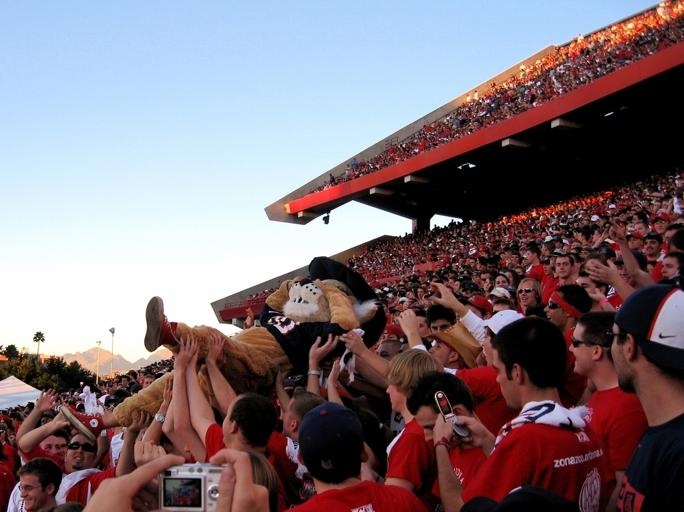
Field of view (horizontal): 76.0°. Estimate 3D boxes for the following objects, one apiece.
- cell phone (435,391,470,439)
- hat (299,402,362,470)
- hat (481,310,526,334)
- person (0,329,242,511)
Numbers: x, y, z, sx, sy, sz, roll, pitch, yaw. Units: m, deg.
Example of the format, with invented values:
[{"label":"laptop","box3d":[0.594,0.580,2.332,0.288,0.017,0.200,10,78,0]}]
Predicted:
[{"label":"cell phone","box3d":[0.540,0.782,2.176,0.129,0.252,0.060,-25,-3,-40]},{"label":"hat","box3d":[-0.061,0.750,1.899,0.264,0.212,0.417,8,-15,4]},{"label":"hat","box3d":[1.048,0.416,2.831,0.298,0.149,0.207,-6,-3,-13]},{"label":"person","box3d":[-1.096,1.013,3.157,0.852,1.408,1.421,-7,-38,23]}]
